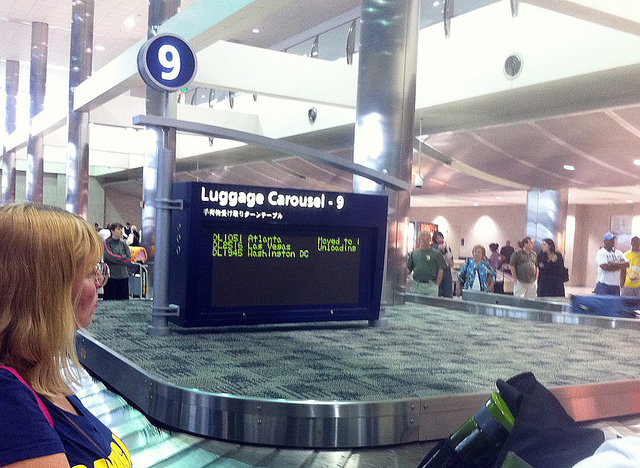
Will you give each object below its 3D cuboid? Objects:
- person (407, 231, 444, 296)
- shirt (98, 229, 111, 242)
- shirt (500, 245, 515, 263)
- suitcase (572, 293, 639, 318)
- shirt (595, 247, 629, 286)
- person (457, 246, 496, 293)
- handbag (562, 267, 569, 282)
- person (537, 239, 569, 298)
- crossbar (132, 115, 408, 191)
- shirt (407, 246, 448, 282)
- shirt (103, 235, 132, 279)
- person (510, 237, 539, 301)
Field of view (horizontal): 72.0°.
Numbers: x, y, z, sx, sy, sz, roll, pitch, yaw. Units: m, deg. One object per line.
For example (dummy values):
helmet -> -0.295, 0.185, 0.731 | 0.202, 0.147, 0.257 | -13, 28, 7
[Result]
person -> 2.326, 0.676, 9.712 | 0.781, 1.421, 0.940 | 3, 1, 16
shirt -> -4.727, 0.030, 9.706 | 0.182, 0.362, 0.264 | -3, -4, 36
shirt -> 7.455, 0.833, 17.583 | 0.312, 0.828, 0.715 | -3, 7, -17
suitcase -> 5.294, 1.359, 8.151 | 1.046, 0.494, 0.775 | 3, 1, 28
shirt -> 7.510, 0.788, 11.100 | 0.468, 1.002, 0.816 | -15, 1, -19
person -> 3.770, 0.841, 10.364 | 0.773, 1.121, 0.771 | 2, 1, -3
handbag -> 6.184, 1.073, 11.076 | 0.068, 0.299, 0.307 | -1, 7, 14
person -> 5.825, 0.854, 11.058 | 0.775, 1.602, 0.502 | 2, 1, -3
crossbar -> -1.284, -2.452, 13.095 | 5.305, 0.503, 0.136 | 16, 22, -21
shirt -> 2.388, 0.672, 9.906 | 0.918, 0.788, 0.416 | 0, 12, 23
shirt -> -4.105, 0.496, 8.935 | 0.520, 0.618, 0.534 | 2, 1, -33
person -> 4.872, 0.795, 10.470 | 0.750, 1.583, 0.319 | 2, 1, -14
